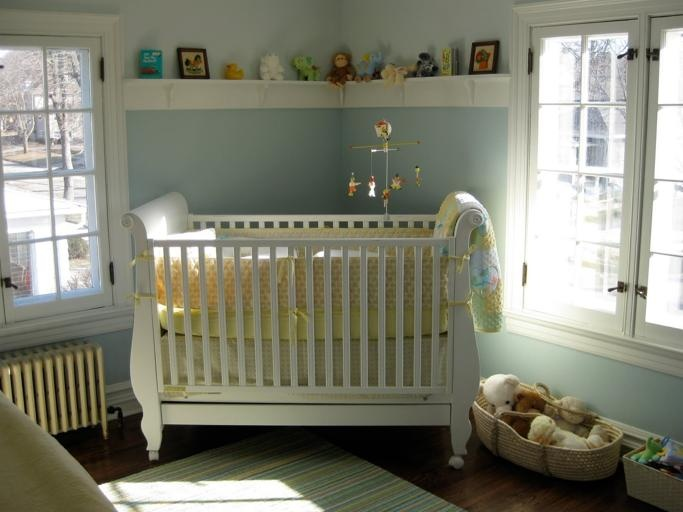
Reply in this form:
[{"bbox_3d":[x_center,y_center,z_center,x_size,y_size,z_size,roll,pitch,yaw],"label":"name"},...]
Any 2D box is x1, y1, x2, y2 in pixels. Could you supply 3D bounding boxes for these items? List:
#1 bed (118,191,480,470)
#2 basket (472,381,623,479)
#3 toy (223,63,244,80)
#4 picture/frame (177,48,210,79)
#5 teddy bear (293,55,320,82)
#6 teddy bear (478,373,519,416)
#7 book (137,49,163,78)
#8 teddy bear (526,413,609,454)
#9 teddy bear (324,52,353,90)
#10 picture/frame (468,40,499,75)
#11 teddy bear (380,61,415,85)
[{"bbox_3d":[-0.177,0.492,3.286,1.678,1.285,1.197,0,7,1],"label":"bed"},{"bbox_3d":[0.972,0.808,2.871,0.588,0.246,0.363,9,17,43],"label":"basket"},{"bbox_3d":[-0.667,-1.152,3.649,0.125,0.104,0.098,-4,12,-19],"label":"toy"},{"bbox_3d":[-0.897,-1.157,3.507,0.191,0.215,0.021,-2,9,-37],"label":"picture/frame"},{"bbox_3d":[-0.230,-1.265,3.935,0.218,0.167,0.081,-10,14,-40],"label":"teddy bear"},{"bbox_3d":[0.853,0.741,3.130,0.213,0.228,0.195,-12,-8,34],"label":"teddy bear"},{"bbox_3d":[-1.108,-1.110,3.365,0.057,0.131,0.171,7,5,37],"label":"book"},{"bbox_3d":[1.104,0.863,2.843,0.352,0.136,0.232,3,-1,6],"label":"teddy bear"},{"bbox_3d":[-0.002,-1.281,4.013,0.195,0.218,0.124,0,11,1],"label":"teddy bear"},{"bbox_3d":[0.821,-1.140,3.351,0.030,0.228,0.195,-13,17,-41],"label":"picture/frame"},{"bbox_3d":[0.352,-1.165,3.737,0.234,0.118,0.090,8,14,34],"label":"teddy bear"}]
